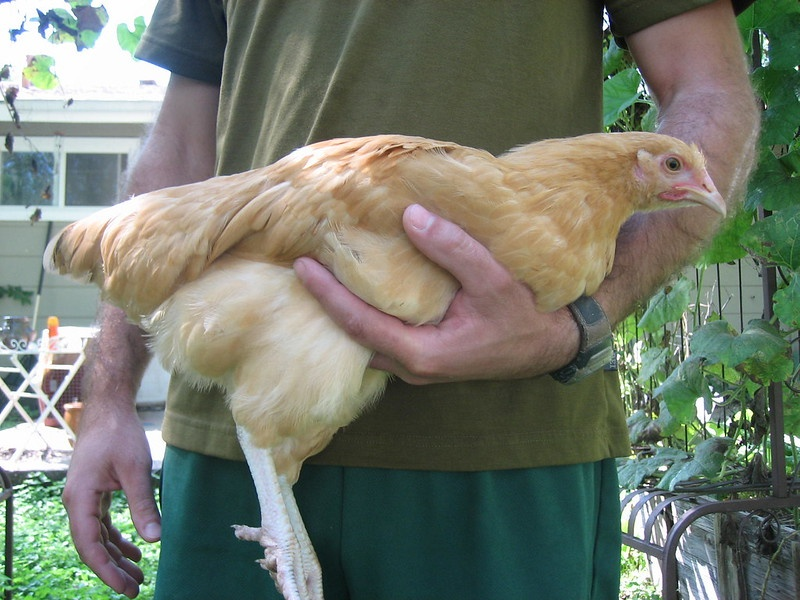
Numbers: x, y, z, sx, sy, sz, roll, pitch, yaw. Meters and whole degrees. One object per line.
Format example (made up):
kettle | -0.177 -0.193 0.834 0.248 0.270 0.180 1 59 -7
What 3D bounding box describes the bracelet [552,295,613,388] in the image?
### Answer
bracelet | 0.590 0.121 2.902 0.157 0.249 0.239 -22 39 -24
